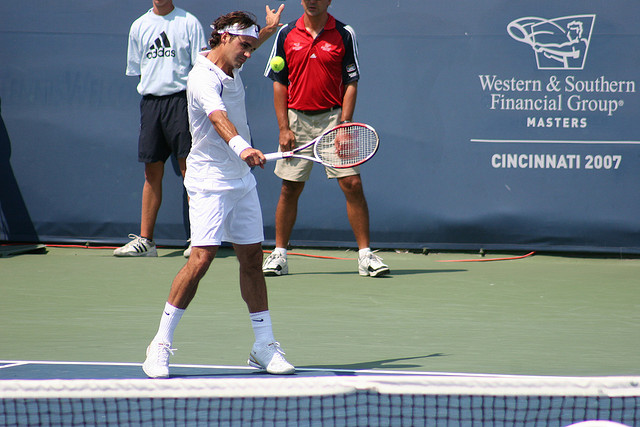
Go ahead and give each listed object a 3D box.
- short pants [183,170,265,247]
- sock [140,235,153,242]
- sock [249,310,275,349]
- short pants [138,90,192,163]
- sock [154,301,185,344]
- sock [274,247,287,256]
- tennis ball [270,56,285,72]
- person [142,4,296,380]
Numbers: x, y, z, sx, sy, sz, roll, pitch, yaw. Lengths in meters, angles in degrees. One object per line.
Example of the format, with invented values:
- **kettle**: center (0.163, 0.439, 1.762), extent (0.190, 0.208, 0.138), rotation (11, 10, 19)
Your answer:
- **short pants**: center (-0.686, -0.088, 6.626), extent (0.414, 0.631, 0.679), rotation (-5, -2, 34)
- **sock**: center (-1.642, 0.233, 9.140), extent (0.054, 0.060, 0.015), rotation (-20, -3, -44)
- **sock**: center (-0.384, 0.768, 6.422), extent (0.142, 0.223, 0.161), rotation (-1, 13, -7)
- **short pants**: center (-1.480, -0.831, 9.077), extent (0.568, 0.688, 0.286), rotation (1, 13, 5)
- **sock**: center (-0.998, 0.731, 6.291), extent (0.128, 0.294, 0.186), rotation (9, 15, 35)
- **sock**: center (-0.338, 0.337, 8.573), extent (0.087, 0.077, 0.063), rotation (-5, 14, -23)
- **tennis ball**: center (-0.368, -1.303, 8.337), extent (0.121, 0.128, 0.243), rotation (0, 12, -3)
- **person**: center (-0.686, -0.161, 6.409), extent (0.864, 2.324, 0.801), rotation (-2, 13, -10)
